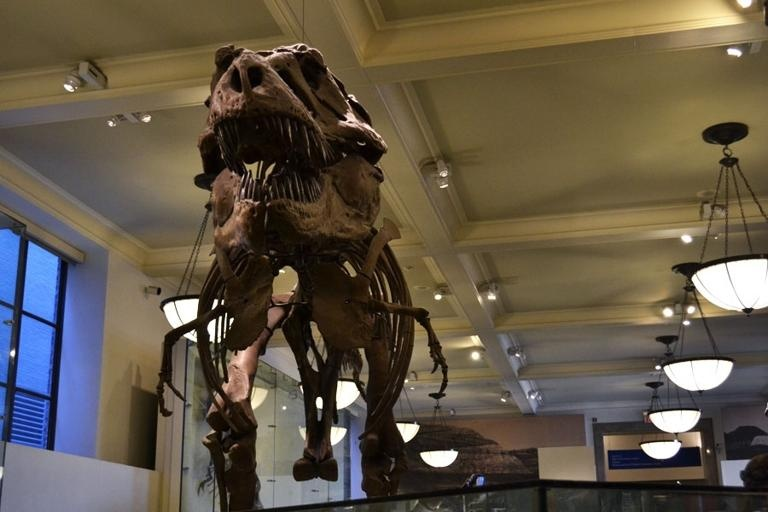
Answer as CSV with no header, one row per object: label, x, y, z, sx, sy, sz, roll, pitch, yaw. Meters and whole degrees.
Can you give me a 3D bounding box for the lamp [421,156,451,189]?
lamp,0.545,-0.881,6.554,0.239,0.187,0.411,-11,-27,19
